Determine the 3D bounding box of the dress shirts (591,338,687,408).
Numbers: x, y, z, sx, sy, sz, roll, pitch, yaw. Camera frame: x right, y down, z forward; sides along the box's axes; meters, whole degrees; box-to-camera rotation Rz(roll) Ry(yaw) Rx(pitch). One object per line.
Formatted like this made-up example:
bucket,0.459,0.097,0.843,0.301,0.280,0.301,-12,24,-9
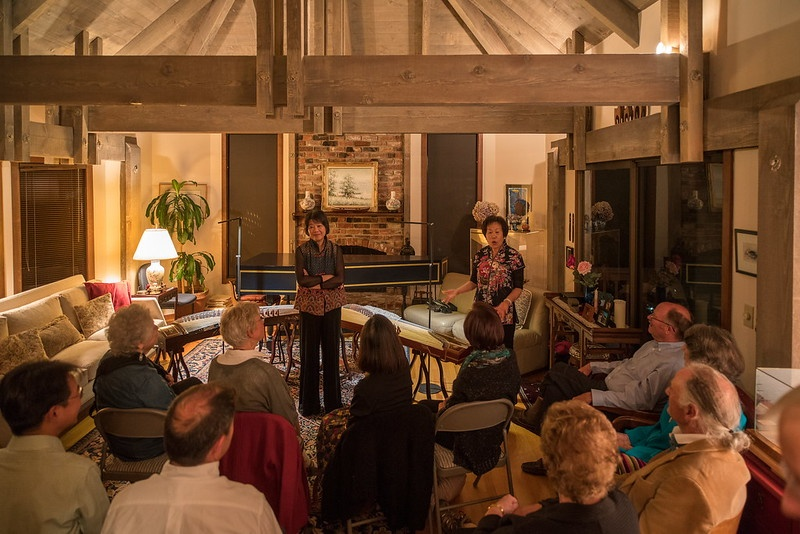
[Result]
dress shirts,1.864,0.837,4.577,0.497,0.360,0.685,7,2,16

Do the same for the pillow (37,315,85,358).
pillow,-3.447,0.706,5.957,0.121,0.301,0.430,-28,4,13

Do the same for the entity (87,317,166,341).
entity,-2.162,0.490,4.607,0.307,0.108,0.447,2,12,2

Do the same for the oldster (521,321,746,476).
oldster,1.534,1.104,3.852,0.963,1.101,0.455,-7,36,3

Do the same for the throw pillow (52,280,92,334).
throw pillow,-3.634,0.405,6.574,0.122,0.406,0.407,-14,7,14

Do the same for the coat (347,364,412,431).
coat,-0.119,0.799,3.646,0.381,0.329,0.240,-1,4,-3

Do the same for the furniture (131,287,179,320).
furniture,-2.912,0.428,7.070,0.268,0.344,0.471,0,5,-2

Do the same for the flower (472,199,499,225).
flower,1.084,-0.708,7.674,0.477,0.238,0.513,1,1,-2

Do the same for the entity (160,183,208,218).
entity,-3.523,-1.050,9.781,0.686,0.457,0.629,0,2,2

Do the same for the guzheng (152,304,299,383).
guzheng,-1.886,0.735,6.207,0.282,0.529,1.451,-4,4,32

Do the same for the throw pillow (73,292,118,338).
throw pillow,-3.250,0.524,6.262,0.144,0.391,0.496,-12,7,18

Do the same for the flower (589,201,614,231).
flower,2.259,-0.577,6.670,0.194,0.265,0.267,-1,2,42

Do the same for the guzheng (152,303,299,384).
guzheng,-1.830,0.757,6.281,0.367,0.583,1.605,-1,6,35

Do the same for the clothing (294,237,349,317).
clothing,-0.724,0.107,5.316,0.479,0.698,0.374,-1,8,-6

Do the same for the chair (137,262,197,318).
chair,-3.385,0.508,8.572,0.755,1.119,0.748,-1,5,-9

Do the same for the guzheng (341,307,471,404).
guzheng,-0.032,0.782,5.642,1.425,0.596,0.381,12,21,29

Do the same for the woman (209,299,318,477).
woman,-0.972,0.824,4.098,0.736,1.270,0.703,8,12,24
